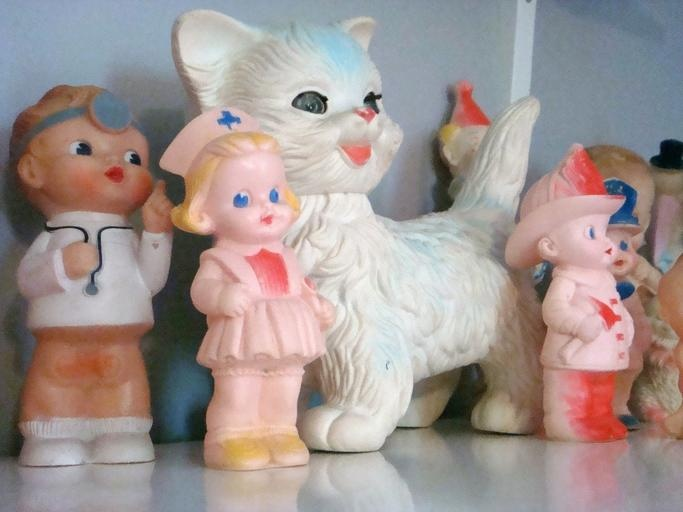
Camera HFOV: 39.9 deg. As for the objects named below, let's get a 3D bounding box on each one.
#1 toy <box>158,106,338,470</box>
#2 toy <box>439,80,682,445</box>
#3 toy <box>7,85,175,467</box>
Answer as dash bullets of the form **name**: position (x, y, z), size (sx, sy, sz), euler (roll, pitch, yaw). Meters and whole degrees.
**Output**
- **toy**: position (-0.154, 0.046, 1.594), size (0.280, 0.589, 0.212), euler (-1, 6, -17)
- **toy**: position (0.475, -0.032, 2.080), size (0.528, 0.735, 0.420), euler (1, 5, 5)
- **toy**: position (-0.431, 0.024, 1.641), size (0.263, 0.646, 0.215), euler (-1, 6, -19)
